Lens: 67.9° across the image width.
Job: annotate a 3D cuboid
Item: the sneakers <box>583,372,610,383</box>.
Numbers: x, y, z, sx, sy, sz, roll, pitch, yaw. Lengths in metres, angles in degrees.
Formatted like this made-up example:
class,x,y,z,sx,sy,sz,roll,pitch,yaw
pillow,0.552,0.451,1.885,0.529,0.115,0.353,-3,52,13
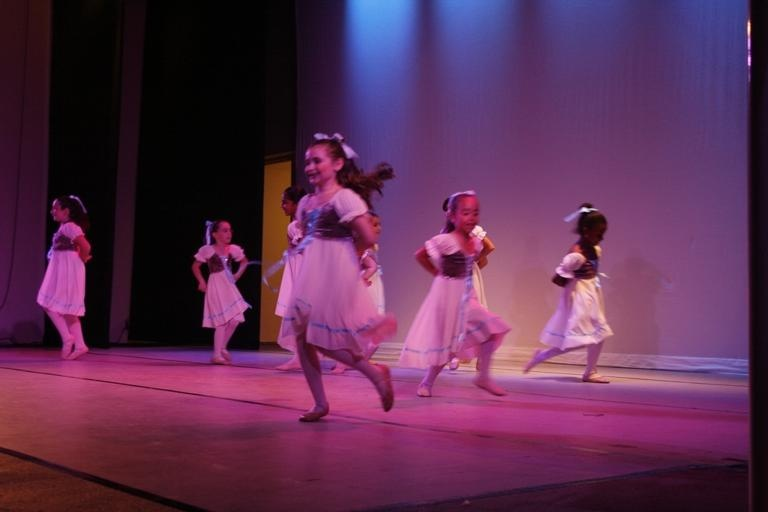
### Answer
class,x,y,z,sx,sy,sz,roll,pitch,yaw
sneakers,1.766,1.015,4.760,0.224,0.072,0.196,1,1,10

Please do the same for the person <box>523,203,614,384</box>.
class,x,y,z,sx,sy,sz,roll,pitch,yaw
person,1.644,0.301,4.963,0.603,1.476,0.553,2,2,16

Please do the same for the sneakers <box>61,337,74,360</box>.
class,x,y,z,sx,sy,sz,roll,pitch,yaw
sneakers,-3.219,0.942,5.862,0.118,0.227,0.093,1,-3,44

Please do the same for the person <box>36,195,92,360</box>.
class,x,y,z,sx,sy,sz,roll,pitch,yaw
person,-3.337,0.212,5.963,0.461,1.705,0.539,0,3,-31

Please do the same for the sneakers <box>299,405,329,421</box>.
class,x,y,z,sx,sy,sz,roll,pitch,yaw
sneakers,-0.389,0.858,3.107,0.067,0.047,0.131,-18,-20,38

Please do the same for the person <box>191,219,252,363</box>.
class,x,y,z,sx,sy,sz,roll,pitch,yaw
person,-1.698,0.348,5.956,0.535,1.437,0.598,0,3,-28

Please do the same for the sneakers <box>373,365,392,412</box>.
class,x,y,z,sx,sy,sz,roll,pitch,yaw
sneakers,-0.007,0.747,3.212,0.104,0.301,0.263,1,2,1
